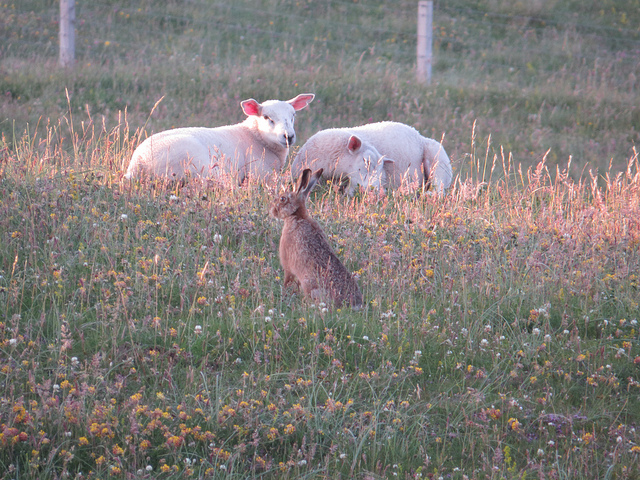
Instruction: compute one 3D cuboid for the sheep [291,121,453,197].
[{"bbox_3d":[0.974,-1.612,17.442,2.717,1.810,1.277,2,-2,-16],"label":"sheep"}]
